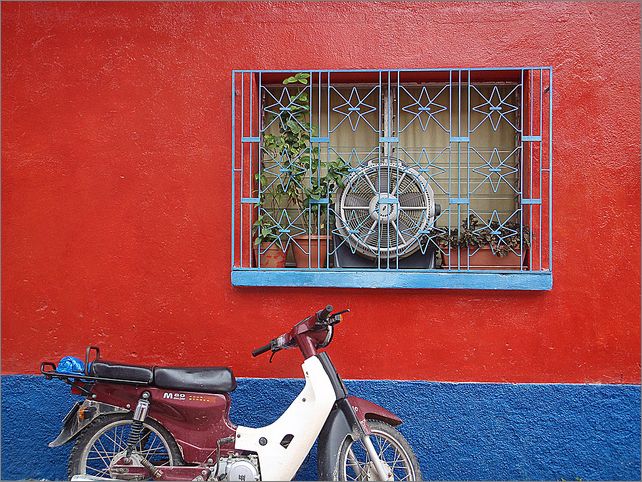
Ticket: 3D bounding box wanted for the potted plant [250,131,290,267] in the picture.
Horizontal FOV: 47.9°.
[{"bbox_3d":[-0.420,-0.365,6.343,0.356,1.189,0.481,2,4,-4],"label":"potted plant"}]
